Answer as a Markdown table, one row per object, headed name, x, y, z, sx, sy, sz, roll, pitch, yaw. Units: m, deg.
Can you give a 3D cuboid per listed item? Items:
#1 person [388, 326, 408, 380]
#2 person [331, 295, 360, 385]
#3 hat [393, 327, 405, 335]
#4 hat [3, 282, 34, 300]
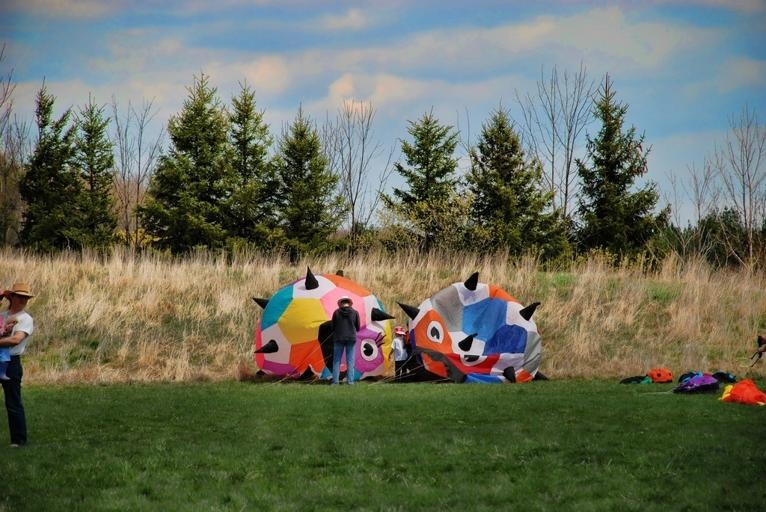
| name | x | y | z | sx | sy | sz | roll | pitch | yaw |
| --- | --- | --- | --- | --- | --- | --- | --- | --- | --- |
| person | 0.542 | 3.176 | 35.175 | 0.566 | 1.579 | 0.795 | 1 | -3 | 0 |
| person | -1.210 | 2.707 | 34.175 | 0.825 | 2.694 | 0.449 | 1 | -3 | -4 |
| hat | 0.518 | 2.488 | 35.611 | 0.264 | 0.158 | 0.205 | -4 | -5 | 34 |
| hat | -10.779 | 1.062 | 31.618 | 0.691 | 0.302 | 0.612 | -15 | -17 | 38 |
